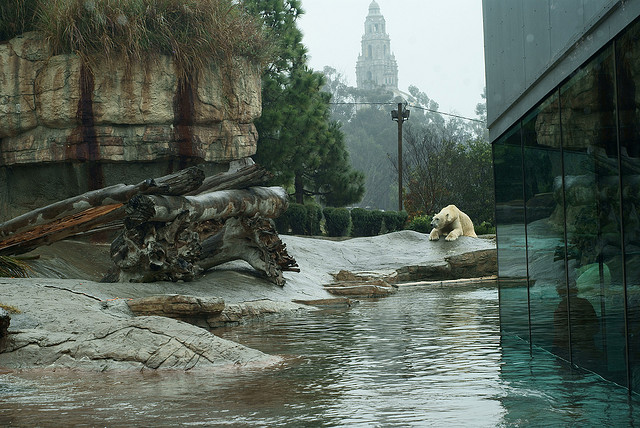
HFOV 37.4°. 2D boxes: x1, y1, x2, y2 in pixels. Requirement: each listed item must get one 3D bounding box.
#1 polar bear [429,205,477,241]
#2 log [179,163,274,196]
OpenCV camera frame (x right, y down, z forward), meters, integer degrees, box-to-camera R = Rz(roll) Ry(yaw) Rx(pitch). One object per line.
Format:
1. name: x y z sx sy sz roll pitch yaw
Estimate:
1. polar bear: 4.545 0.339 32.465 1.557 1.282 2.593 1 -2 31
2. log: -1.919 -0.918 21.186 2.495 0.556 0.655 -7 -36 -39
